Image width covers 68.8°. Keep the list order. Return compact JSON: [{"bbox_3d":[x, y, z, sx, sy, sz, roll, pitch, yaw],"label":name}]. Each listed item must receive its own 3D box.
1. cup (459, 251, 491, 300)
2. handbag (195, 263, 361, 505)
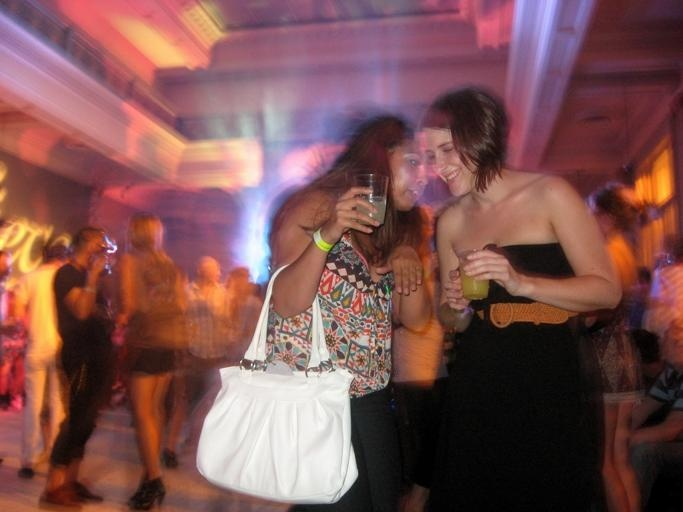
[{"bbox_3d":[0.640,0.104,2.457,0.194,0.213,0.200,2,-13,1],"label":"cup"},{"bbox_3d":[-0.279,0.544,2.196,0.679,0.993,0.249,2,2,23],"label":"handbag"}]
